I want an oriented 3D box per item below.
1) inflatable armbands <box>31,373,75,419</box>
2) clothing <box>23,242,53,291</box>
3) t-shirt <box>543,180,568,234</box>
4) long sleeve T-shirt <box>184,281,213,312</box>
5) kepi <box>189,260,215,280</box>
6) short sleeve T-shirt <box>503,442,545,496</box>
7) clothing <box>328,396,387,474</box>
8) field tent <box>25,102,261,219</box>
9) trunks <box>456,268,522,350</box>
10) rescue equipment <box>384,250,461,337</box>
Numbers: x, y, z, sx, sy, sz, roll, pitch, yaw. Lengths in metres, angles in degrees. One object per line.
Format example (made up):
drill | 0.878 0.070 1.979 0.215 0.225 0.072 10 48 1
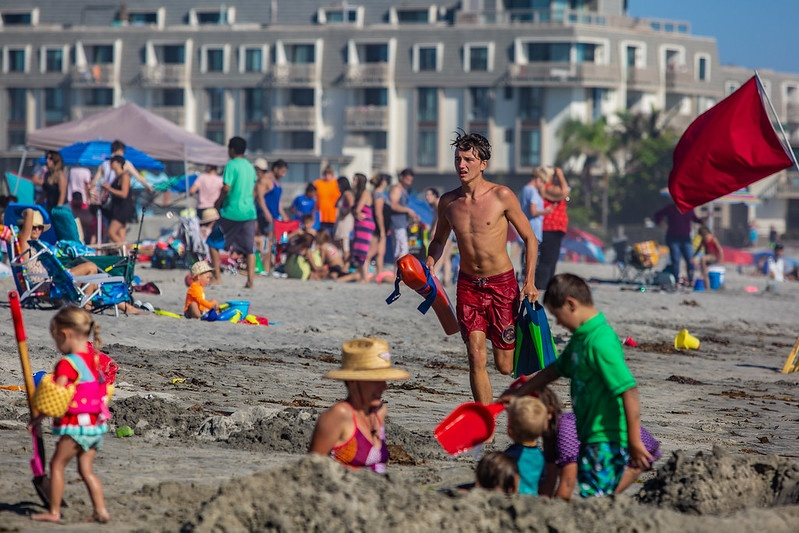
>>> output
inflatable armbands | -5.872 2.291 29.676 0.552 0.725 0.689 25 -5 -14
clothing | -7.377 -0.036 35.640 0.901 0.596 0.245 10 29 43
t-shirt | 3.683 -1.151 39.347 0.626 1.050 0.644 -4 -3 37
long sleeve T-shirt | -4.159 0.649 36.186 0.573 0.752 0.562 3 1 -7
kepi | -4.068 0.073 36.045 0.337 0.202 0.327 -17 11 -39
short sleeve T-shirt | 2.161 3.486 29.774 0.699 0.751 0.406 3 1 -5
clothing | -0.774 2.932 29.910 0.883 1.709 1.190 0 0 38
field tent | -6.508 -2.565 42.864 3.630 1.655 3.894 3 0 4
trunks | 1.679 0.917 32.252 1.100 1.737 0.844 -4 5 8
rescue equipment | 0.483 0.414 32.208 1.068 0.584 1.616 31 -15 44
